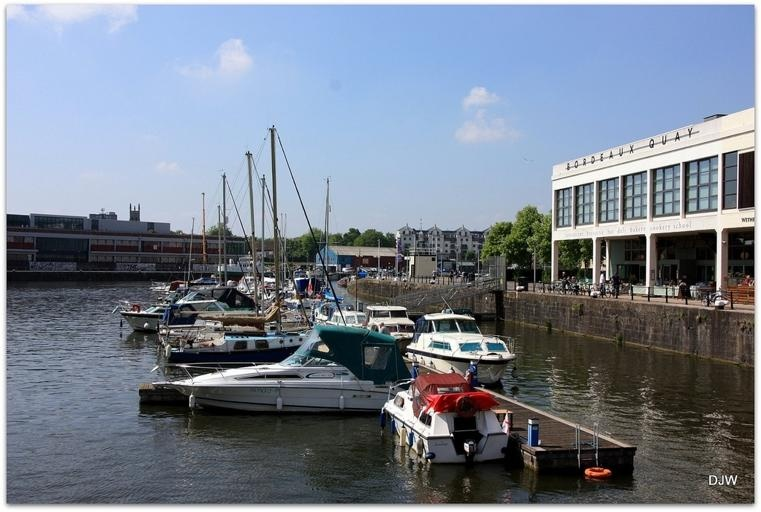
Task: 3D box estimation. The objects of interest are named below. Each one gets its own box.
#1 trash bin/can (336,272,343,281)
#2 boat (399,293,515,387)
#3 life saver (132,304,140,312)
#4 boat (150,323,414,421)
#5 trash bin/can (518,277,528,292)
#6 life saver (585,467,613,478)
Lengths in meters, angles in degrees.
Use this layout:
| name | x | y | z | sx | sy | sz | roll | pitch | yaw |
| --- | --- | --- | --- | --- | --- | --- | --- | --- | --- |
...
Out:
| name | x | y | z | sx | sy | sz | roll | pitch | yaw |
| --- | --- | --- | --- | --- | --- | --- | --- | --- | --- |
| trash bin/can | -8.057 | 3.944 | 151.792 | 1.438 | 1.294 | 0.748 | -1 | 2 | -35 |
| boat | 4.820 | 4.851 | 40.696 | 4.550 | 3.695 | 4.157 | 0 | -1 | -19 |
| life saver | -17.871 | 3.776 | 56.966 | 0.527 | 0.557 | 0.603 | -5 | -15 | 29 |
| boat | -5.087 | 5.152 | 36.439 | 12.661 | 3.806 | 3.895 | 1 | -4 | -2 |
| trash bin/can | 11.791 | 2.272 | 64.650 | 0.868 | 1.005 | 2.206 | 3 | 14 | 10 |
| life saver | 8.204 | 8.141 | 29.339 | 1.051 | 0.282 | 0.486 | 0 | 14 | 1 |
